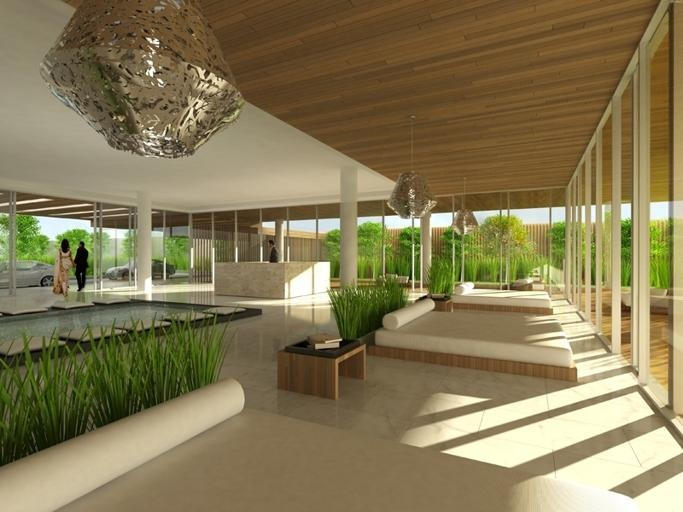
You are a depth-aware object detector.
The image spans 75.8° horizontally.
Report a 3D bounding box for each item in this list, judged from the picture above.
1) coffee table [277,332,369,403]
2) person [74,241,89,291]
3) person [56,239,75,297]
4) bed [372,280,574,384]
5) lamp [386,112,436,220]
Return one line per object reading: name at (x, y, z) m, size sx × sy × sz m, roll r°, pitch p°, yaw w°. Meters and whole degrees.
coffee table at (-0.222, 1.055, 4.230) m, size 0.521 × 0.366 × 0.739 m, roll -1°, pitch -1°, yaw 24°
person at (-7.668, 0.320, 12.753) m, size 0.324 × 1.492 × 0.957 m, roll 2°, pitch 8°, yaw -32°
person at (-7.588, 0.315, 11.874) m, size 0.448 × 1.421 × 0.716 m, roll 1°, pitch 8°, yaw -34°
bed at (1.876, 0.974, 5.782) m, size 2.101 × 0.556 × 2.481 m, roll 10°, pitch 7°, yaw 23°
lamp at (0.951, -1.191, 5.820) m, size 0.567 × 1.308 × 0.582 m, roll 5°, pitch -1°, yaw 23°
